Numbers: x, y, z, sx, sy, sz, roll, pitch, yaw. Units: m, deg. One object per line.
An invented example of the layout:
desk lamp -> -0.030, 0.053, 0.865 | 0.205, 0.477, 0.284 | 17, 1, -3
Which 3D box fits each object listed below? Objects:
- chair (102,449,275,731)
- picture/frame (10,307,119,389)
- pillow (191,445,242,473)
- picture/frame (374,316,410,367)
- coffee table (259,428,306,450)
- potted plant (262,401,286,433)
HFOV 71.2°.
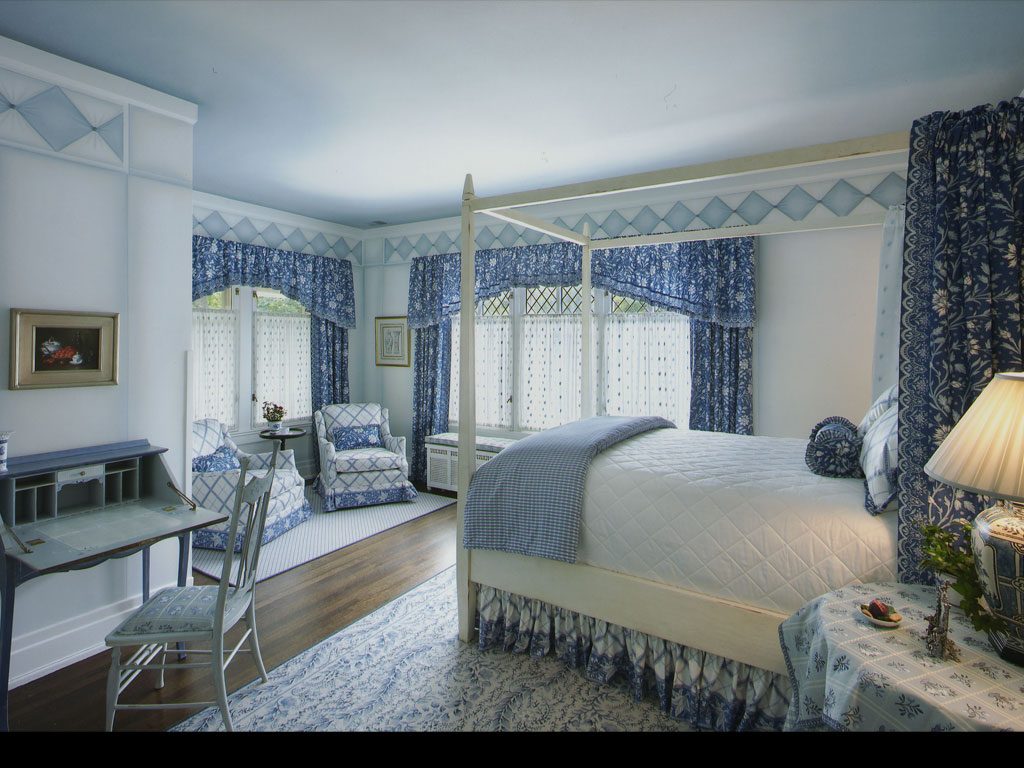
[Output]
chair -> -1.605, 1.005, 3.561 | 0.871, 1.229, 0.852 | 2, 2, 42
picture/frame -> -2.464, -0.194, 3.893 | 0.034, 0.470, 0.445 | 4, 2, 41
pillow -> -2.335, 0.619, 5.637 | 0.065, 0.194, 0.227 | -20, -9, 32
picture/frame -> -1.278, -0.436, 7.645 | 0.451, 0.526, 0.023 | 2, 3, 27
coffee table -> -2.153, 0.510, 6.660 | 0.290, 0.240, 0.301 | 1, 2, 37
potted plant -> -2.248, 0.313, 6.730 | 0.251, 0.277, 0.263 | 2, -4, -21
